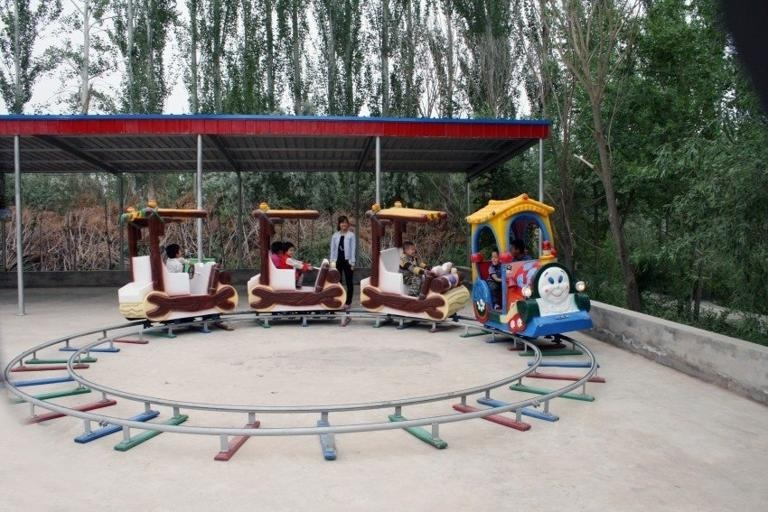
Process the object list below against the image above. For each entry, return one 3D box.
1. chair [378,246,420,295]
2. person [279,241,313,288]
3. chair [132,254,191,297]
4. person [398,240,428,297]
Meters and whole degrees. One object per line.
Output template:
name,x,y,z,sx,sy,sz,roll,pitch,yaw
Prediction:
chair,0.312,0.330,13.944,0.830,1.082,1.066,-2,-4,36
person,-1.875,0.147,14.146,0.663,0.974,0.519,0,12,-14
chair,-4.440,0.411,13.394,0.732,0.891,0.888,0,0,-18
person,0.671,0.319,13.964,0.691,1.271,0.500,10,27,44
